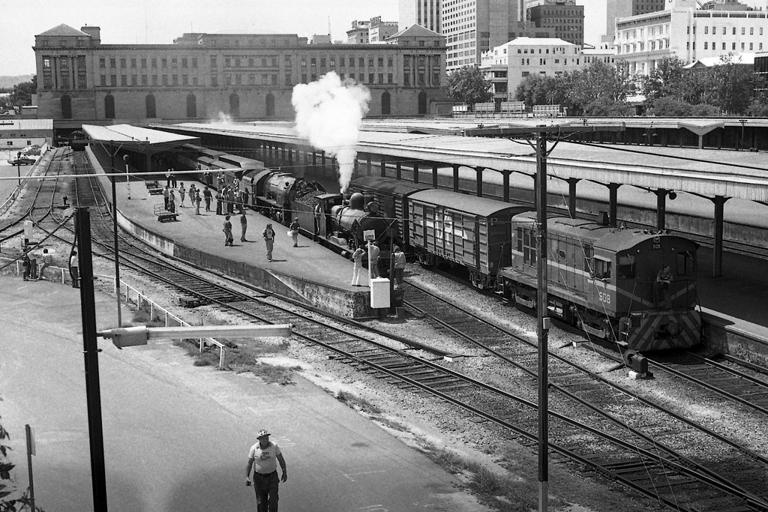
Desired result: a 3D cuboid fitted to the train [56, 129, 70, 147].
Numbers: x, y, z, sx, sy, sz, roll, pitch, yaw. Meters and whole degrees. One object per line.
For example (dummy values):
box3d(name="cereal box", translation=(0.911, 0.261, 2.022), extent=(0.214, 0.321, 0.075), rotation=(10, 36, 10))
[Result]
box3d(name="train", translation=(-57.182, -21.492, 168.874), extent=(2.649, 3.023, 4.643), rotation=(-5, 10, -19))

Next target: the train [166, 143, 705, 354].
box3d(name="train", translation=(3.596, -1.276, 48.540), extent=(4.364, 4.553, 30.594), rotation=(-5, 12, -25))
